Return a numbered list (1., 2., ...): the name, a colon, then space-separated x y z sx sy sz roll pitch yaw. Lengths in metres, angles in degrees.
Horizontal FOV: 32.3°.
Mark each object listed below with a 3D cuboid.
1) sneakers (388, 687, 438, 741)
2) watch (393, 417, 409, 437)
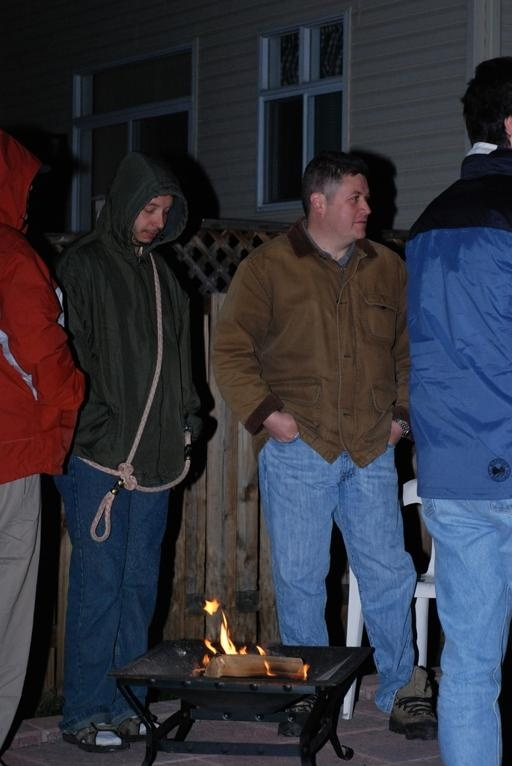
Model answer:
1. sneakers: 0.631 1.283 3.460 0.107 0.198 0.294 18 -17 -10
2. watch: 0.564 0.169 3.441 0.057 0.044 0.051 43 7 -6
